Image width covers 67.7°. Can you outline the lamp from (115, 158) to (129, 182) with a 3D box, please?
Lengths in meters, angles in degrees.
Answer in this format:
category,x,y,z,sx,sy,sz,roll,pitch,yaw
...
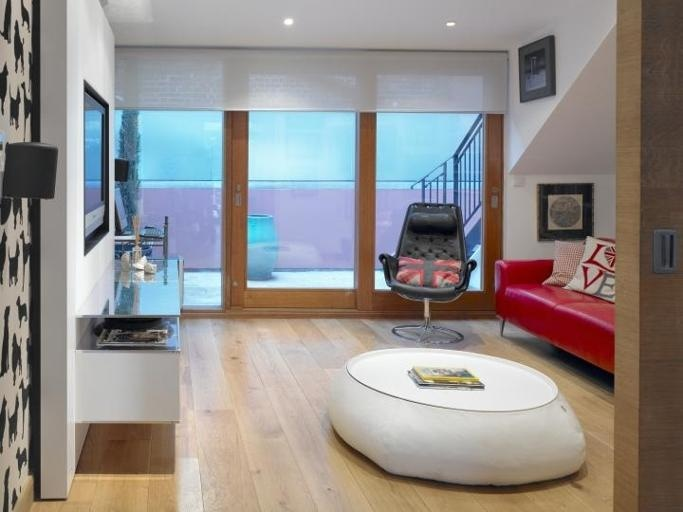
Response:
category,x,y,z,sx,sy,sz,roll,pitch,yaw
lamp,-2.231,-0.862,5.171,0.107,0.226,0.393,-2,8,-17

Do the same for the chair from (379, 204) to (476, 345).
category,x,y,z,sx,sy,sz,roll,pitch,yaw
chair,0.840,0.152,4.962,0.836,1.314,0.937,2,4,14

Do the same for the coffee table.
category,x,y,z,sx,sy,sz,roll,pitch,yaw
coffee table,0.596,0.838,2.733,1.313,0.364,0.908,4,8,24

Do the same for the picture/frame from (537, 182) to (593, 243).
category,x,y,z,sx,sy,sz,roll,pitch,yaw
picture/frame,2.419,-0.498,5.533,0.613,0.667,0.028,-1,5,2
